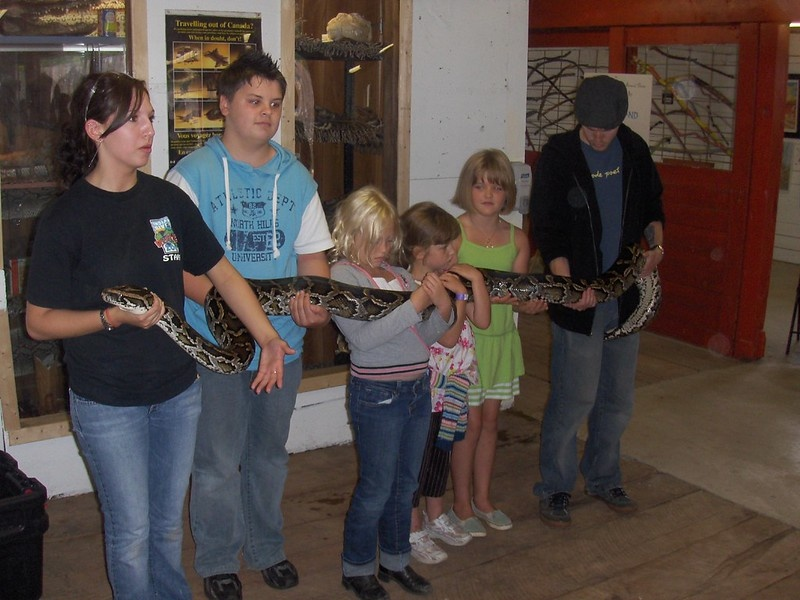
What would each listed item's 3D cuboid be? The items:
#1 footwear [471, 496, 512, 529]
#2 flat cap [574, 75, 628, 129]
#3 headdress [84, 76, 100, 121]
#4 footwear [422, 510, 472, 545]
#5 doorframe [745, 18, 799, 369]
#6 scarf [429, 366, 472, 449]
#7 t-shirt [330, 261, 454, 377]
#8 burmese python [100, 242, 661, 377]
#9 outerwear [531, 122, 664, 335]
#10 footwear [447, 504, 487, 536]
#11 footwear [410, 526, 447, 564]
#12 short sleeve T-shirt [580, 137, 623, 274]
[{"bbox_3d":[0.647,1.521,5.209,0.113,0.090,0.280,-5,14,-39],"label":"footwear"},{"bbox_3d":[1.355,-1.317,4.878,0.275,0.408,0.116,5,3,5],"label":"flat cap"},{"bbox_3d":[-1.433,-0.927,3.367,0.032,0.152,0.105,12,16,-16],"label":"headdress"},{"bbox_3d":[0.324,1.567,5.052,0.349,0.171,0.144,15,20,16],"label":"footwear"},{"bbox_3d":[4.055,-1.158,8.162,0.352,3.685,0.602,4,17,26],"label":"doorframe"},{"bbox_3d":[0.336,0.705,4.651,0.178,0.435,0.317,3,-4,-42],"label":"scarf"},{"bbox_3d":[-0.039,0.111,4.329,0.694,0.657,0.516,-5,15,-6],"label":"t-shirt"},{"bbox_3d":[-0.081,0.034,4.346,3.206,0.498,0.660,-3,34,-24],"label":"burmese python"},{"bbox_3d":[1.286,-0.523,5.079,0.899,1.499,0.306,-3,-3,-4],"label":"outerwear"},{"bbox_3d":[0.473,1.543,5.073,0.249,0.085,0.129,19,17,34],"label":"footwear"},{"bbox_3d":[0.152,1.616,4.861,0.302,0.144,0.132,17,17,30],"label":"footwear"},{"bbox_3d":[1.490,-0.676,5.176,0.423,0.834,0.187,-7,10,-23],"label":"short sleeve T-shirt"}]
